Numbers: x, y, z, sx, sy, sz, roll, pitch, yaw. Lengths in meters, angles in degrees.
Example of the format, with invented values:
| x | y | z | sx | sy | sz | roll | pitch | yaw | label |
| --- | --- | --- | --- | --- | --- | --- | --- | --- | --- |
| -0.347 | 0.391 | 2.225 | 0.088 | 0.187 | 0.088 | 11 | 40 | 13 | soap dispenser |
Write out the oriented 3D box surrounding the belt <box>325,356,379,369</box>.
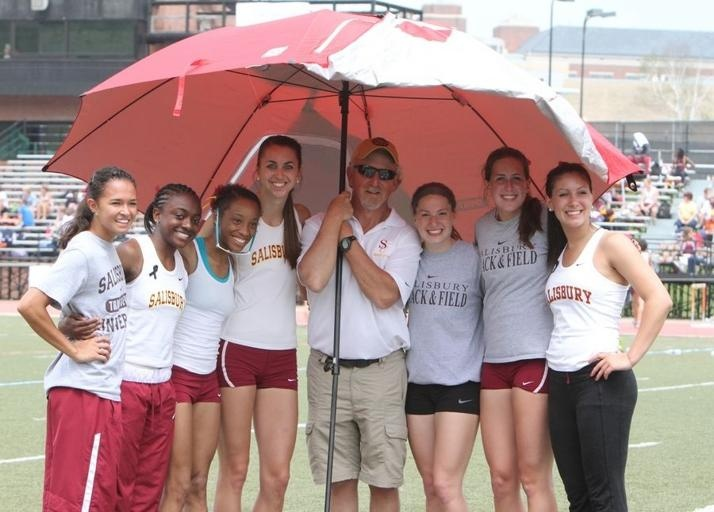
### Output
| x | y | z | sx | sy | sz | roll | pitch | yaw | label |
| --- | --- | --- | --- | --- | --- | --- | --- | --- | --- |
| -0.051 | 0.785 | 7.368 | 0.381 | 0.108 | 0.229 | -2 | 3 | -26 | belt |
